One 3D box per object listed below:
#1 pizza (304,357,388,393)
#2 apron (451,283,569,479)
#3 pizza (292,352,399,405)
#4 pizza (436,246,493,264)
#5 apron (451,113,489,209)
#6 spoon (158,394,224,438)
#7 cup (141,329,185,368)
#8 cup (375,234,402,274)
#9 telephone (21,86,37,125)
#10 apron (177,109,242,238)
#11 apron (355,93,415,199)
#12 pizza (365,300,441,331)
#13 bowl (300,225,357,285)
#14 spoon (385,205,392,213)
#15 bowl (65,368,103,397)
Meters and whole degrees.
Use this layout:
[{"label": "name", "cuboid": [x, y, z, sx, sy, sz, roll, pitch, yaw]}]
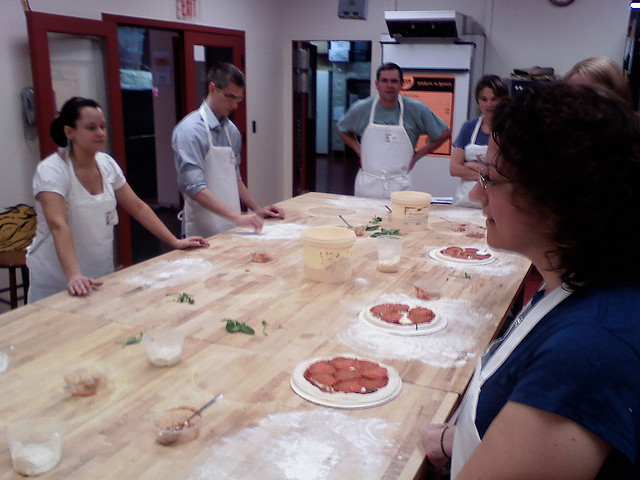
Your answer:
[{"label": "pizza", "cuboid": [0.084, 0.445, 1.541, 0.266, 0.024, 0.175, 4, 20, 14]}, {"label": "apron", "cuboid": [0.410, 0.315, 1.043, 0.130, 0.329, 0.336, 31, 37, 20]}, {"label": "pizza", "cuboid": [0.080, 0.453, 1.532, 0.348, 0.033, 0.231, 3, 20, 11]}, {"label": "pizza", "cuboid": [0.855, 0.080, 2.766, 0.318, 0.024, 0.261, 4, 20, 14]}, {"label": "apron", "cuboid": [1.267, -0.668, 3.962, 0.235, 0.747, 0.407, 4, 20, 15]}, {"label": "spoon", "cuboid": [-0.352, 0.495, 1.370, 0.236, 0.036, 0.048, -31, 26, -28]}, {"label": "cup", "cuboid": [-0.547, 0.393, 1.657, 0.155, 0.108, 0.155, 0, -7, 0]}, {"label": "cup", "cuboid": [0.368, 0.069, 2.611, 0.175, 0.210, 0.177, -1, 9, 0]}, {"label": "telephone", "cuboid": [-2.476, -1.160, 3.993, 0.076, 0.267, 0.195, -1, 11, -11]}, {"label": "apron", "cuboid": [-0.843, -0.495, 3.621, 0.464, 0.983, 0.380, -8, 20, -18]}, {"label": "apron", "cuboid": [0.661, -0.832, 4.613, 0.555, 1.410, 0.479, 2, -12, 0]}, {"label": "pizza", "cuboid": [0.350, 0.319, 1.986, 0.327, 0.033, 0.245, -2, 20, -3]}, {"label": "bowl", "cuboid": [0.036, 0.074, 2.471, 0.298, 0.239, 0.301, 3, 10, -1]}, {"label": "spoon", "cuboid": [0.551, -0.250, 3.805, 0.030, 0.033, 0.119, 6, 31, -17]}, {"label": "bowl", "cuboid": [-0.764, 0.454, 1.516, 0.107, 0.023, 0.150, -9, 21, -21]}]
